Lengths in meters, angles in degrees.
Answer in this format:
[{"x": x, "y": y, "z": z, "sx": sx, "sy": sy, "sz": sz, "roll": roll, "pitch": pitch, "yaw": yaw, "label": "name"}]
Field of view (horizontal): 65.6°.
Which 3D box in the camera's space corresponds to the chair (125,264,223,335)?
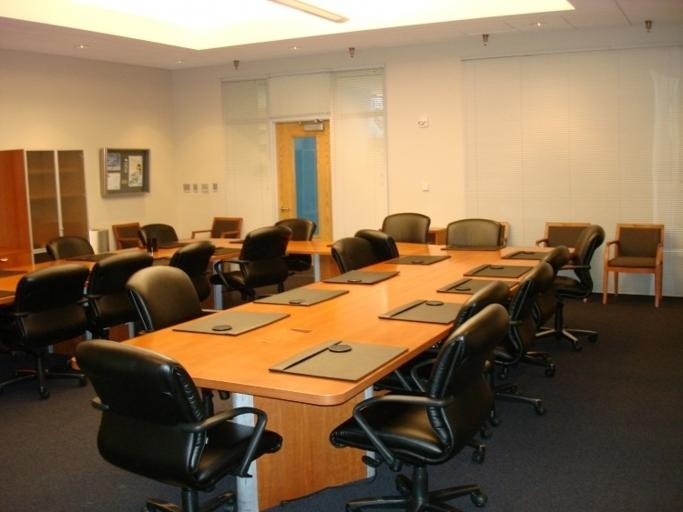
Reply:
[{"x": -1.103, "y": 0.248, "z": 3.435, "sx": 0.508, "sy": 0.440, "sz": 0.458, "roll": 1, "pitch": 11, "yaw": 28, "label": "chair"}]
